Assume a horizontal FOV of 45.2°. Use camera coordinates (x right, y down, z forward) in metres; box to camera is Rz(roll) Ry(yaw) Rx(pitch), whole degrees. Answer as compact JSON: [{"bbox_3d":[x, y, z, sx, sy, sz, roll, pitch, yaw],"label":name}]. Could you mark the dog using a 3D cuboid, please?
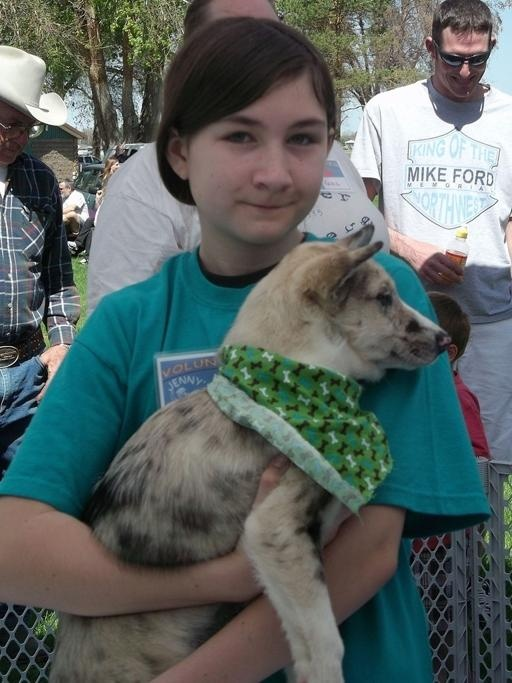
[{"bbox_3d":[-0.010,0.264,1.508,0.745,0.965,1.001,11,36,23],"label":"dog"}]
